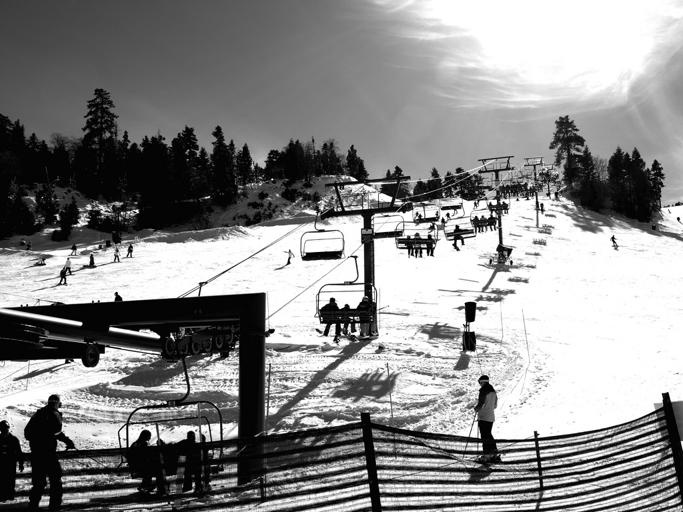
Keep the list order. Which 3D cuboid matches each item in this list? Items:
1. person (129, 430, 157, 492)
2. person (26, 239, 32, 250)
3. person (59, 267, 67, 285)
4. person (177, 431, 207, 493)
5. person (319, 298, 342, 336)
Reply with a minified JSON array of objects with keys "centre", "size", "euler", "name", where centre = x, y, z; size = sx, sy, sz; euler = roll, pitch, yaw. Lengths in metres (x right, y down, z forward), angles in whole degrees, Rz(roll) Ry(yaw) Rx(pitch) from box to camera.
[{"centre":[-4.161,4.297,16.213],"size":[0.561,1.320,0.508],"euler":[-3,5,-20],"name":"person"},{"centre":[-27.199,-1.017,66.554],"size":[0.210,0.803,0.294],"euler":[-1,19,3],"name":"person"},{"centre":[-16.868,1.140,46.203],"size":[0.506,0.907,1.581],"euler":[-4,8,-20],"name":"person"},{"centre":[-3.079,4.242,15.955],"size":[0.446,1.423,0.387],"euler":[2,16,0],"name":"person"},{"centre":[-0.379,2.197,28.044],"size":[0.673,1.483,0.488],"euler":[-5,21,-13],"name":"person"}]
